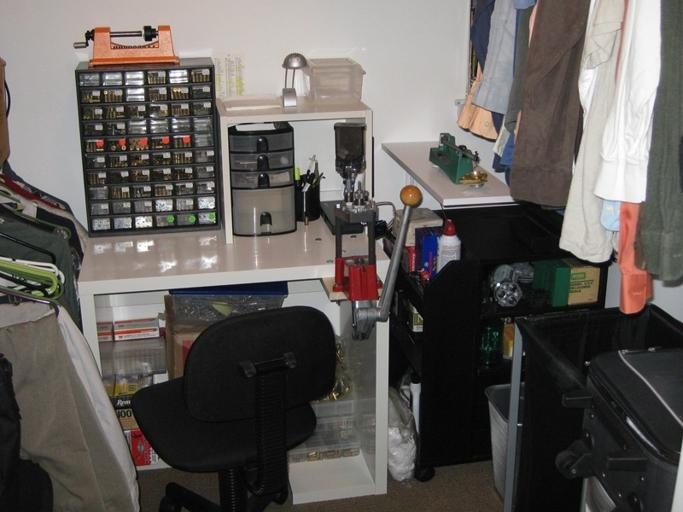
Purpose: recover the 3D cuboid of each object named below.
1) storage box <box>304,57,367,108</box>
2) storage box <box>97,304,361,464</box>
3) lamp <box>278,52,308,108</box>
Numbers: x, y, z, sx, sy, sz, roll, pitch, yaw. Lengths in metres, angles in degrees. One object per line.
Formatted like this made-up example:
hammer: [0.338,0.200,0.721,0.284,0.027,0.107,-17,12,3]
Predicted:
storage box: [-0.020,-0.786,2.878,0.211,0.145,0.227,-2,30,-5]
storage box: [-0.376,0.471,2.138,0.720,0.660,0.397,0,14,18]
lamp: [-0.220,-0.823,2.884,0.144,0.323,0.160,-6,36,-12]
